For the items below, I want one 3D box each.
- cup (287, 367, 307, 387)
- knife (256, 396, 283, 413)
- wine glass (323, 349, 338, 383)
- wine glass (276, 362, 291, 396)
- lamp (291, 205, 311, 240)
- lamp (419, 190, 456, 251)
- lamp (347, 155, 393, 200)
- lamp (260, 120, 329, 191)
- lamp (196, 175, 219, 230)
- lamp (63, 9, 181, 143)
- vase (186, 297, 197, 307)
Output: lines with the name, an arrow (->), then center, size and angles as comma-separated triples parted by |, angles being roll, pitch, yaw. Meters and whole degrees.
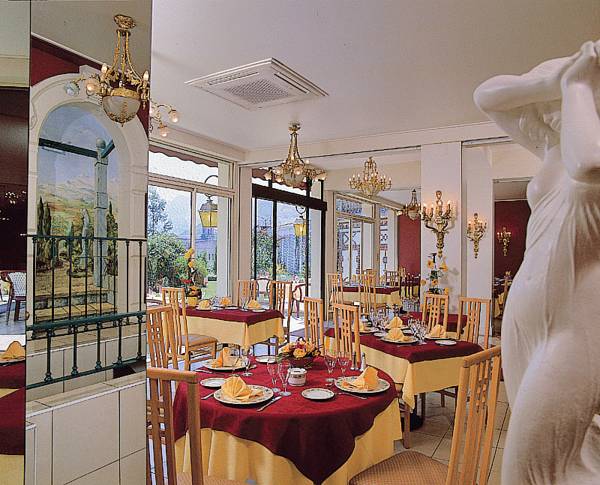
cup -> -0.015, 0.750, 2.494 | 0.074, 0.056, 0.080 | 0, -1, 0
knife -> -0.151, 0.767, 2.154 | 0.032, 0.014, 0.247 | 7, 7, 17
wine glass -> 0.188, 0.749, 2.702 | 0.083, 0.213, 0.092 | -1, -1, 4
wine glass -> -0.086, 0.762, 2.513 | 0.097, 0.216, 0.107 | -3, 3, -13
lamp -> 0.036, -0.398, 9.001 | 0.120, 0.531, 0.635 | 2, 0, 21
lamp -> 1.759, -0.264, 5.730 | 0.424, 0.788, 0.309 | 2, 1, 36
lamp -> 1.233, -1.195, 8.047 | 0.697, 1.060, 0.712 | -1, 2, -36
lamp -> -0.060, -0.951, 5.452 | 0.828, 1.017, 0.827 | 1, -1, 2
lamp -> -1.385, -0.649, 6.814 | 0.258, 0.594, 0.510 | 2, 0, -5
lamp -> -0.479, -0.470, 1.217 | 0.267, 0.267, 0.286 | 11, 16, 10
vase -> -1.289, 0.711, 5.346 | 0.101, 0.087, 0.107 | 2, -5, -23
